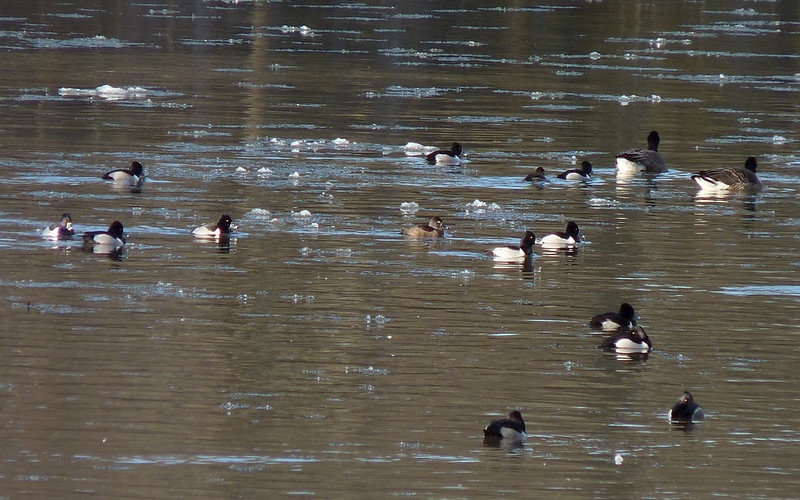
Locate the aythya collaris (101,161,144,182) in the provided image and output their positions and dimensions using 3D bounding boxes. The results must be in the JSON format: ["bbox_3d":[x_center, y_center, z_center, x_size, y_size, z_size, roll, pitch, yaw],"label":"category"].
[{"bbox_3d":[-9.019,-2.555,56.379,1.522,0.630,0.940,-4,12,-39],"label":"aythya collaris"}]

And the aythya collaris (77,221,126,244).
[{"bbox_3d":[-8.687,-0.470,49.644,1.246,0.674,0.769,2,10,-7],"label":"aythya collaris"}]

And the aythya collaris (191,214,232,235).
[{"bbox_3d":[-5.681,-0.716,50.856,1.195,0.655,0.576,3,11,-6],"label":"aythya collaris"}]

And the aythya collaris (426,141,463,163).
[{"bbox_3d":[1.613,-3.429,61.287,1.226,0.780,1.126,4,9,1],"label":"aythya collaris"}]

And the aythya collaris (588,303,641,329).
[{"bbox_3d":[5.686,1.782,45.015,1.237,0.700,0.647,4,11,4],"label":"aythya collaris"}]

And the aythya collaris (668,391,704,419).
[{"bbox_3d":[7.012,3.804,41.269,0.852,0.745,0.381,5,12,4],"label":"aythya collaris"}]

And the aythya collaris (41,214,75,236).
[{"bbox_3d":[-10.121,-0.690,50.277,1.034,0.656,0.740,-1,11,-25],"label":"aythya collaris"}]

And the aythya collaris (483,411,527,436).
[{"bbox_3d":[2.524,4.163,40.421,1.035,0.674,0.499,4,11,1],"label":"aythya collaris"}]
